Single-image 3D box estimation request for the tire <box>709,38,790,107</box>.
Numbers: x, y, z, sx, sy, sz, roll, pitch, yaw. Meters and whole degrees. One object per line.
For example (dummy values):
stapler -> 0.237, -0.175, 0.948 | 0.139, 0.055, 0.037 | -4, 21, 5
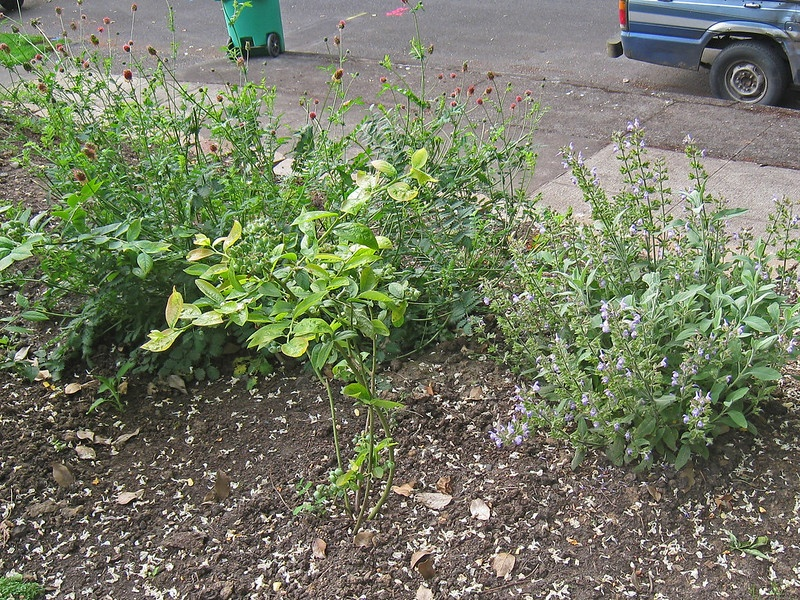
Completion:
tire -> 4.267, -2.690, 7.625 | 0.377, 0.924, 0.953 | -33, 21, -14
